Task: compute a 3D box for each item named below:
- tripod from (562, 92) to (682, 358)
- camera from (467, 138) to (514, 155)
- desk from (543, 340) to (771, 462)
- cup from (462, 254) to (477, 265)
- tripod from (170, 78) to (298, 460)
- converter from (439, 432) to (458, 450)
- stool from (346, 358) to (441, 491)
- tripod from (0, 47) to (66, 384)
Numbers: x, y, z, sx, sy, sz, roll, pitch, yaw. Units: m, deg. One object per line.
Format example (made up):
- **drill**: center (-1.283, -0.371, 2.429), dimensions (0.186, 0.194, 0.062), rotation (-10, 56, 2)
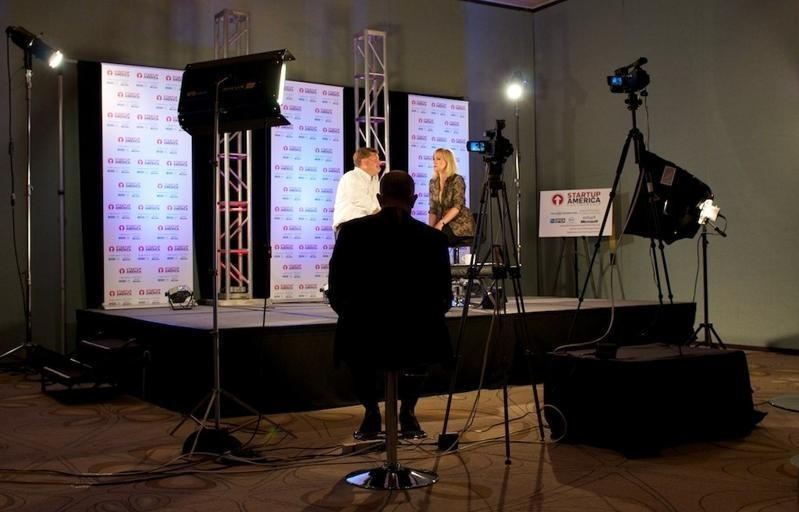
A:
- **tripod**: center (2.469, -0.529, 7.452), dimensions (0.984, 2.251, 0.902), rotation (-1, -4, -22)
- **camera**: center (0.812, -0.981, 6.667), dimensions (0.412, 0.171, 0.274), rotation (1, 1, 38)
- **desk**: center (2.344, 1.320, 6.918), dimensions (1.680, 0.793, 1.335), rotation (-4, -3, -22)
- **cup**: center (0.909, 0.053, 9.451), dimensions (0.216, 0.160, 0.167), rotation (-3, -4, 22)
- **tripod**: center (-1.543, 0.089, 6.598), dimensions (1.252, 3.333, 1.143), rotation (2, 9, 9)
- **converter**: center (0.429, 1.629, 6.477), dimensions (0.168, 0.140, 0.134), rotation (-2, -8, 26)
- **stool**: center (-0.076, 1.416, 6.108), dimensions (0.864, 0.876, 0.918), rotation (-12, -17, 40)
- **tripod**: center (-4.513, -0.694, 8.967), dimensions (0.727, 4.218, 1.531), rotation (-1, 2, -24)
